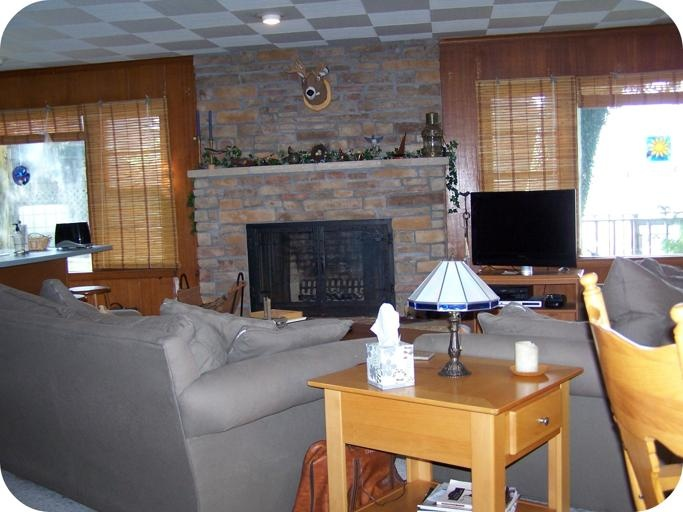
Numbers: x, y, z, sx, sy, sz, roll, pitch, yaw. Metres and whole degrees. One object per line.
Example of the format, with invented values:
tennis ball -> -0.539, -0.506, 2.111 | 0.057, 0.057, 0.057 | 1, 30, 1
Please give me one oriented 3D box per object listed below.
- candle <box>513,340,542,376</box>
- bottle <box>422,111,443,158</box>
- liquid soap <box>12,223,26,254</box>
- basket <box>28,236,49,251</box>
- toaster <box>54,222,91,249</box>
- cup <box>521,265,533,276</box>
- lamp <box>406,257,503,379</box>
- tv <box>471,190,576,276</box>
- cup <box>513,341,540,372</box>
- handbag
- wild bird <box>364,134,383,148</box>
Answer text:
candle -> 0.740, 0.396, 2.194 | 0.128, 0.136, 0.125 | 0, 2, 21
bottle -> 0.983, -1.270, 5.744 | 0.272, 0.478, 0.172 | -9, 9, -35
liquid soap -> -2.943, -0.166, 5.028 | 0.120, 0.265, 0.687 | -8, 7, -29
basket -> -2.826, -0.117, 5.127 | 0.162, 0.078, 0.137 | -1, -1, 22
toaster -> -2.666, -0.207, 5.501 | 0.417, 0.288, 0.228 | 0, -2, -4
cup -> 1.740, 0.136, 5.190 | 0.108, 0.101, 0.150 | 2, -2, 42
lamp -> 0.454, 0.232, 2.412 | 0.465, 0.518, 0.457 | 3, 3, 44
tv -> 1.747, -0.242, 5.219 | 0.883, 0.605, 0.086 | 0, 3, 19
cup -> 0.732, 0.405, 2.244 | 0.119, 0.125, 0.115 | 0, -2, 0
handbag -> 0.011, 0.932, 2.335 | 0.201, 0.266, 0.415 | -5, -1, 43
wild bird -> 0.352, -1.264, 5.997 | 0.206, 0.143, 0.186 | -3, 6, 4
